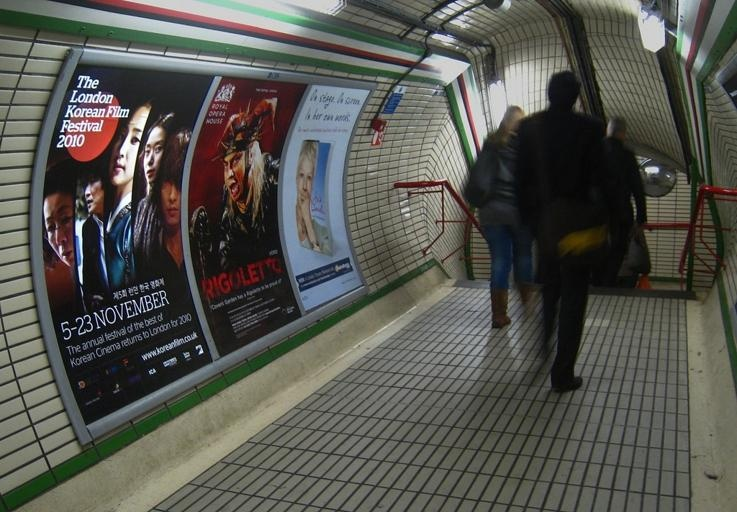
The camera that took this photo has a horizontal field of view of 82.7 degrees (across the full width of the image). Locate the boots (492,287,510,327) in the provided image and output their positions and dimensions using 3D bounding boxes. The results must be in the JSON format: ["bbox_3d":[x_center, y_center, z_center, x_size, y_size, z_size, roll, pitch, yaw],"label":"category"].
[{"bbox_3d":[1.759,0.777,5.656,0.202,0.600,0.476,-3,18,15],"label":"boots"}]

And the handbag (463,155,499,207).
[{"bbox_3d":[1.313,-0.877,4.828,0.252,0.655,0.617,9,15,39],"label":"handbag"}]
